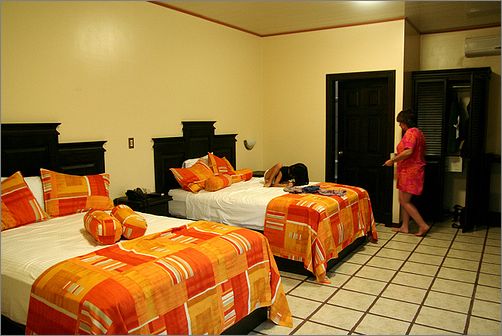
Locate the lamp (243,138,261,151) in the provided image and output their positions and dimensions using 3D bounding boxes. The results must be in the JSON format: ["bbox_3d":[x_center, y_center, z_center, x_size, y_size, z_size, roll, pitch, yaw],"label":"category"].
[{"bbox_3d":[-0.034,-0.506,7.403,0.224,0.171,0.223,-5,6,-19],"label":"lamp"}]

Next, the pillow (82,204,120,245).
[{"bbox_3d":[-1.547,0.487,3.647,0.276,0.252,0.539,-16,18,-34],"label":"pillow"}]

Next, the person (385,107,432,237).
[{"bbox_3d":[2.793,0.077,6.157,0.720,2.190,0.626,10,17,41],"label":"person"}]

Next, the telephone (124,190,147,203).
[{"bbox_3d":[-1.702,0.404,5.195,0.236,0.098,0.171,-1,4,28],"label":"telephone"}]
